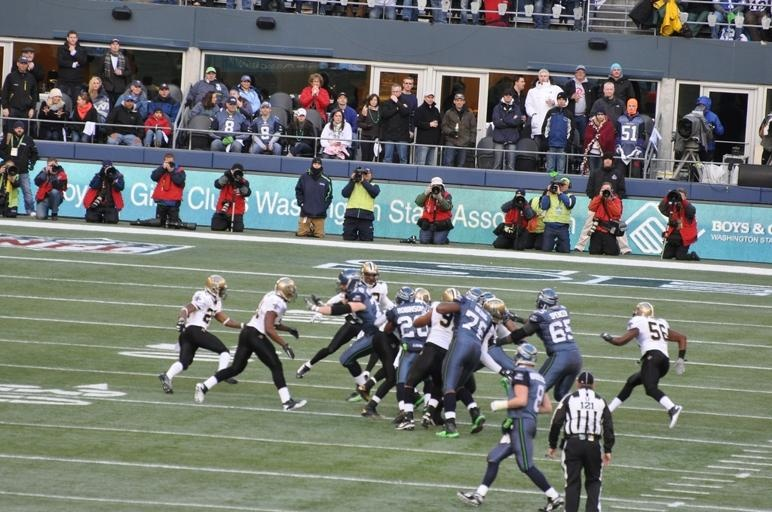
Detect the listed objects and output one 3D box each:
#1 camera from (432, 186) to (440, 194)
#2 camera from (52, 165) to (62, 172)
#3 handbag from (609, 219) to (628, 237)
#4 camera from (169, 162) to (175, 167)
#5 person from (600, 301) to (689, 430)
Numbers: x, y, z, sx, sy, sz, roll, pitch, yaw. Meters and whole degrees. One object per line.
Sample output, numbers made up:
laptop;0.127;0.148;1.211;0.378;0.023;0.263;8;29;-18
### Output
camera;1.345;-1.705;51.819;0.176;0.199;0.197;1;2;1
camera;-8.578;-2.318;52.530;0.148;0.186;0.171;-14;30;-41
handbag;6.118;-0.716;52.437;0.410;0.435;0.309;13;11;-9
camera;-5.485;-2.370;52.014;0.095;0.139;0.238;2;3;24
person;5.486;2.321;41.838;1.532;2.621;0.969;1;2;6
